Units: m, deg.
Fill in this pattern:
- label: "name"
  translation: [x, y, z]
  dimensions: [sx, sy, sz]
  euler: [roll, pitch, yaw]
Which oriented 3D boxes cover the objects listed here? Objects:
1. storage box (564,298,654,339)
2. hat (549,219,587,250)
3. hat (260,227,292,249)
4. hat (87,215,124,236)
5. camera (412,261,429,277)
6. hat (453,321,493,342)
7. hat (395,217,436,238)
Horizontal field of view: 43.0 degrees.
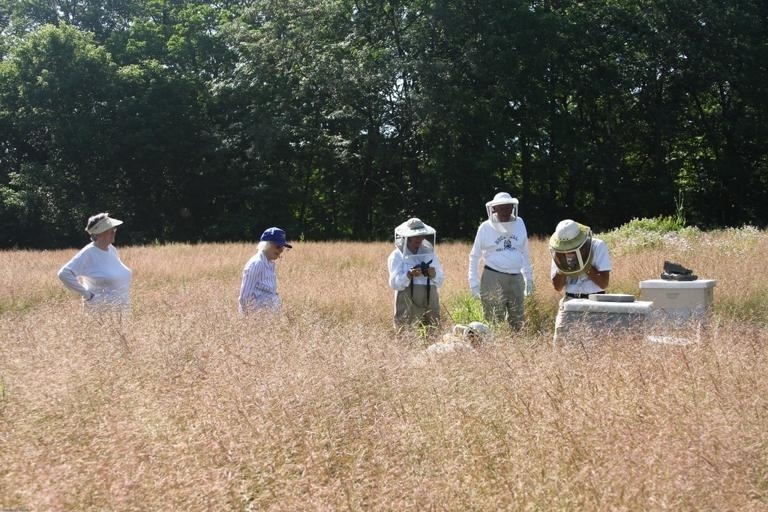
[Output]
- label: "storage box"
  translation: [6.651, 2.356, 29.396]
  dimensions: [2.559, 1.229, 1.862]
  euler: [0, -27, 22]
- label: "hat"
  translation: [5.639, -0.584, 29.819]
  dimensions: [0.974, 0.446, 0.977]
  euler: [-36, 33, 3]
- label: "hat"
  translation: [-3.408, -0.573, 30.695]
  dimensions: [1.212, 0.663, 0.810]
  euler: [4, 3, -3]
- label: "hat"
  translation: [-8.795, -0.859, 30.706]
  dimensions: [1.177, 0.580, 0.800]
  euler: [-14, 15, -6]
- label: "camera"
  translation: [1.159, 0.441, 30.633]
  dimensions: [0.497, 0.474, 0.164]
  euler: [-3, 11, 0]
- label: "hat"
  translation: [2.608, 2.294, 29.189]
  dimensions: [0.610, 0.293, 0.802]
  euler: [-1, 4, -42]
- label: "hat"
  translation: [0.944, -0.813, 30.641]
  dimensions: [0.789, 0.263, 0.783]
  euler: [-4, 12, -14]
